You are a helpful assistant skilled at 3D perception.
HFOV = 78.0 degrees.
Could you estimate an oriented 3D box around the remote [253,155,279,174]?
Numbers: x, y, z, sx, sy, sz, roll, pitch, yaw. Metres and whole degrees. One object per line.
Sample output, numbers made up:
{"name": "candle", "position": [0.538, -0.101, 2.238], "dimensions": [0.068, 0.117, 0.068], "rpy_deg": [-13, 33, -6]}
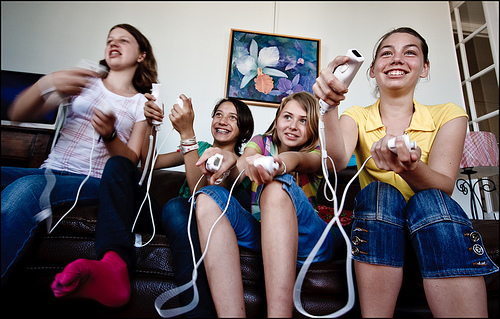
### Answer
{"name": "remote", "position": [0.062, 0.015, 1.109], "dimensions": [0.075, 0.062, 0.061], "rpy_deg": [-9, -18, 32]}

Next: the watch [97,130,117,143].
{"name": "watch", "position": [-0.650, -0.099, 1.412], "dimensions": [0.056, 0.040, 0.062], "rpy_deg": [13, 38, 24]}

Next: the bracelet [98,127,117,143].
{"name": "bracelet", "position": [-0.644, -0.099, 1.415], "dimensions": [0.068, 0.048, 0.074], "rpy_deg": [1, 44, 50]}

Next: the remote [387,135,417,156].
{"name": "remote", "position": [0.530, -0.051, 1.081], "dimensions": [0.082, 0.063, 0.061], "rpy_deg": [0, 4, 22]}

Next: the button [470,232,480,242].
{"name": "button", "position": [0.772, 0.263, 1.060], "dimensions": [0.030, 0.030, 0.011], "rpy_deg": [-3, -6, 2]}

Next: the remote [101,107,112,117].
{"name": "remote", "position": [-0.627, -0.206, 1.353], "dimensions": [0.034, 0.033, 0.035], "rpy_deg": [9, -3, 42]}

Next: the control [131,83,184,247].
{"name": "control", "position": [-0.457, 0.017, 1.478], "dimensions": [0.221, 0.712, 0.079], "rpy_deg": [10, -8, -11]}

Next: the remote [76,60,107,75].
{"name": "remote", "position": [-0.729, -0.415, 1.394], "dimensions": [0.083, 0.020, 0.087], "rpy_deg": [6, -1, -4]}

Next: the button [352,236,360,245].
{"name": "button", "position": [0.378, 0.291, 1.115], "dimensions": [0.006, 0.024, 0.024], "rpy_deg": [15, -10, -38]}

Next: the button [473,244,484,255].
{"name": "button", "position": [0.778, 0.303, 1.051], "dimensions": [0.043, 0.029, 0.019], "rpy_deg": [0, 9, -12]}

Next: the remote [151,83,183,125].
{"name": "remote", "position": [-0.492, -0.318, 1.815], "dimensions": [0.139, 0.115, 0.450], "rpy_deg": [14, -8, -6]}

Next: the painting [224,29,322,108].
{"name": "painting", "position": [0.159, -0.722, 2.514], "dimensions": [0.920, 0.712, 0.035], "rpy_deg": [4, -6, -4]}

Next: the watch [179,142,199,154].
{"name": "watch", "position": [-0.288, -0.035, 1.482], "dimensions": [0.069, 0.049, 0.074], "rpy_deg": [6, -15, -39]}

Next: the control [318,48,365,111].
{"name": "control", "position": [0.342, -0.296, 1.165], "dimensions": [0.138, 0.229, 0.098], "rpy_deg": [4, 9, 11]}

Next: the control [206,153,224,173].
{"name": "control", "position": [-0.138, 0.015, 1.225], "dimensions": [0.055, 0.076, 0.041], "rpy_deg": [22, -10, -30]}

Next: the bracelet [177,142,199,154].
{"name": "bracelet", "position": [-0.290, -0.053, 1.468], "dimensions": [0.057, 0.059, 0.059], "rpy_deg": [4, 4, 38]}

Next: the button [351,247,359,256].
{"name": "button", "position": [0.382, 0.332, 1.124], "dimensions": [0.008, 0.028, 0.027], "rpy_deg": [9, 36, -27]}
